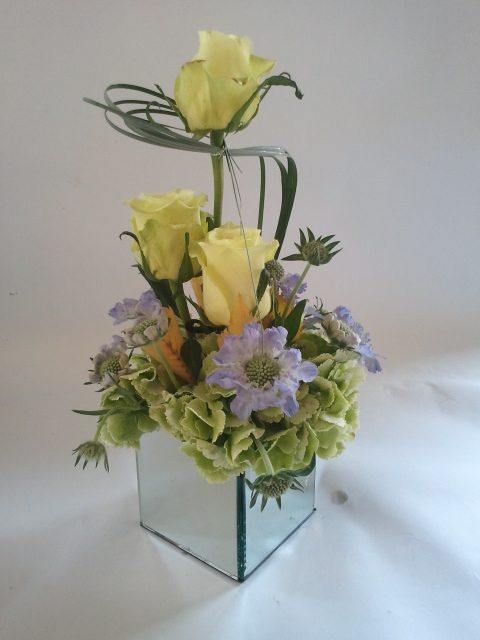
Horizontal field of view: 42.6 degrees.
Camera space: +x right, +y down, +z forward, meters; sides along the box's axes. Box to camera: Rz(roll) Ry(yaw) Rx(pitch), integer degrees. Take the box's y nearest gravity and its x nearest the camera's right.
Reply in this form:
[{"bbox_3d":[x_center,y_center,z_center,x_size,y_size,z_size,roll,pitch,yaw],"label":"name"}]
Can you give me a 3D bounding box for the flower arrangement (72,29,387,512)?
[{"bbox_3d":[-0.004,-0.081,0.787,0.359,0.485,0.339,13,24,21],"label":"flower arrangement"}]
